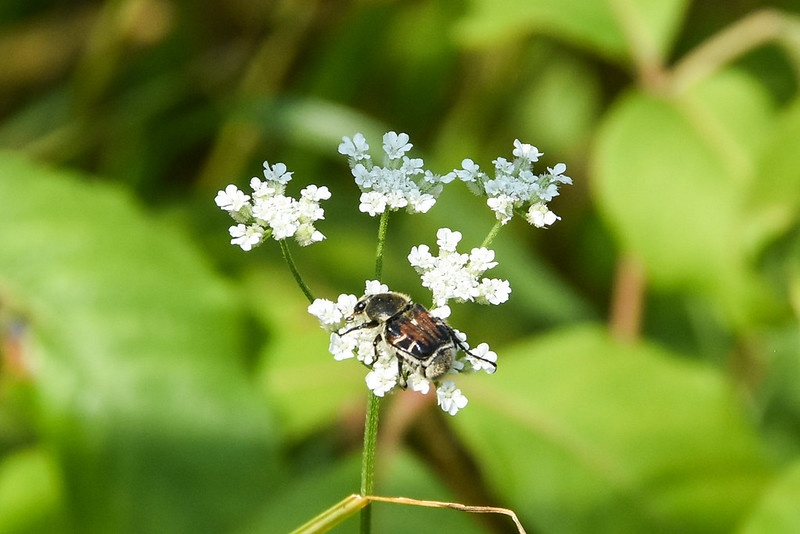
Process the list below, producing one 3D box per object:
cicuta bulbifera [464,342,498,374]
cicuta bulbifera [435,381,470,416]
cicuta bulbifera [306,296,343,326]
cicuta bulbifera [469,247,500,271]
[{"bbox_3d":[0.295,0.354,3.033,0.112,0.108,0.030,-49,-17,-28],"label":"cicuta bulbifera"},{"bbox_3d":[0.188,0.487,3.003,0.093,0.118,0.136,-9,-12,0],"label":"cicuta bulbifera"},{"bbox_3d":[-0.281,0.179,3.039,0.095,0.111,0.045,-17,-7,-13],"label":"cicuta bulbifera"},{"bbox_3d":[0.319,-0.017,3.149,0.100,0.093,0.169,-11,-12,9],"label":"cicuta bulbifera"}]
